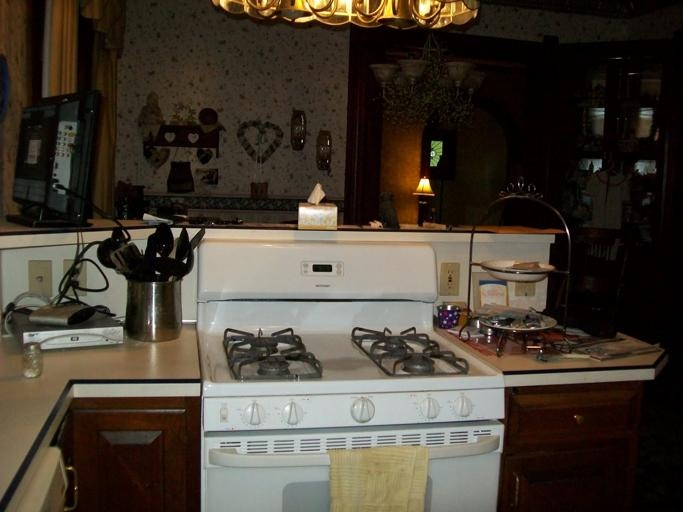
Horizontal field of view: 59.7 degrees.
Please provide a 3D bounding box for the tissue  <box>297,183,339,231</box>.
[{"bbox_3d":[-0.105,-0.212,2.602,0.177,0.202,0.107,0,6,-5],"label":"tissue "}]

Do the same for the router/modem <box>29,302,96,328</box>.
[{"bbox_3d":[-1.050,0.217,2.229,0.255,0.065,0.214,11,9,30],"label":"router/modem"}]

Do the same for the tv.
[{"bbox_3d":[-1.170,-0.376,2.317,0.508,0.504,0.171,7,0,41],"label":"tv"}]

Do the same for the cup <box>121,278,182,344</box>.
[{"bbox_3d":[-0.730,0.210,2.309,0.194,0.245,0.090,-2,6,-20],"label":"cup"}]

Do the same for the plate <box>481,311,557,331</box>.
[{"bbox_3d":[0.710,0.262,2.436,0.296,0.058,0.200,-1,5,-10],"label":"plate"}]

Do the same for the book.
[{"bbox_3d":[1.000,0.343,2.429,0.547,0.075,0.344,-3,6,-29],"label":"book"}]

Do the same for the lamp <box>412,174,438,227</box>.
[{"bbox_3d":[0.812,-0.540,5.983,0.212,0.513,0.211,7,4,31],"label":"lamp"}]
